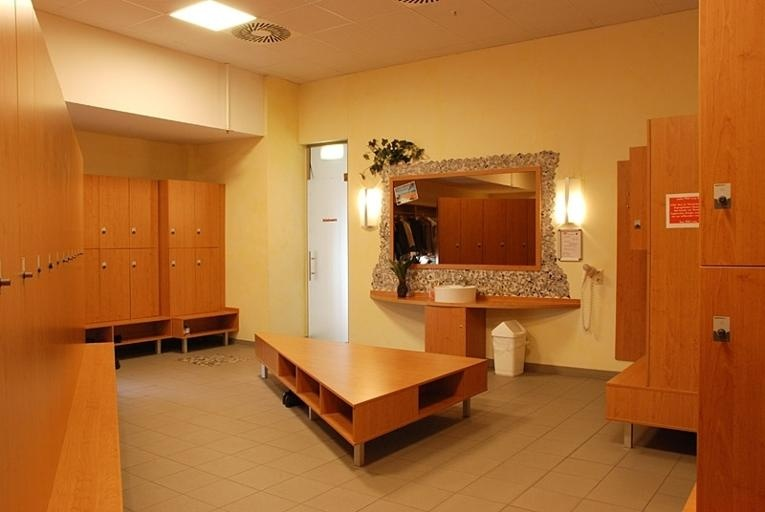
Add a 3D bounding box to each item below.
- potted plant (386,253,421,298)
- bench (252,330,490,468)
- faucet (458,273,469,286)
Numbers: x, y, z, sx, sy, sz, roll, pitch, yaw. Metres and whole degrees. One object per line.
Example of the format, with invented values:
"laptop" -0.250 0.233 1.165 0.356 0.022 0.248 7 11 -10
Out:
"potted plant" 0.283 0.283 8.206 0.372 0.582 0.515 -2 10 0
"bench" -0.374 1.253 5.487 1.000 0.360 1.799 -1 3 -36
"faucet" 1.144 0.329 7.833 0.123 0.153 0.077 14 13 34
